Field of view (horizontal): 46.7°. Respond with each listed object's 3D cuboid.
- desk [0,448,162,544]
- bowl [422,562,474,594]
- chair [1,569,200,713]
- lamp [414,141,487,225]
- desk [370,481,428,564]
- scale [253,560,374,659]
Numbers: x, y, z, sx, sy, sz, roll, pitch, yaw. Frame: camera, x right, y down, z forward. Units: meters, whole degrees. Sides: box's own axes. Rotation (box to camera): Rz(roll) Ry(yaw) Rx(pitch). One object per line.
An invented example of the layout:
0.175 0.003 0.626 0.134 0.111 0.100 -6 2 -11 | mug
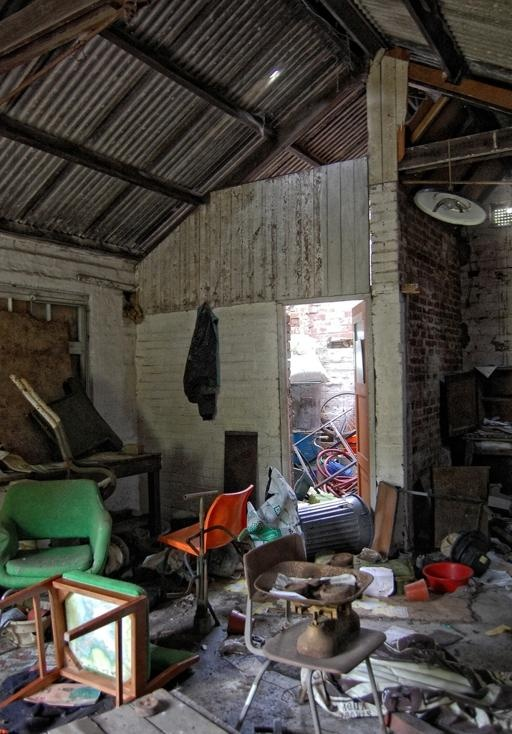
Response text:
-1.326 0.926 4.828 0.903 0.862 0.876 -2 -7 5 | desk
1.310 1.440 4.041 0.332 0.162 0.242 -3 -3 13 | bowl
-0.703 1.292 2.969 0.560 0.577 0.868 3 2 36 | chair
1.273 -1.057 3.884 0.432 0.187 0.477 -3 -3 10 | lamp
1.072 1.153 4.505 0.402 0.539 0.573 -3 -3 10 | desk
0.264 1.001 2.469 0.403 0.236 0.519 -1 -4 19 | scale
